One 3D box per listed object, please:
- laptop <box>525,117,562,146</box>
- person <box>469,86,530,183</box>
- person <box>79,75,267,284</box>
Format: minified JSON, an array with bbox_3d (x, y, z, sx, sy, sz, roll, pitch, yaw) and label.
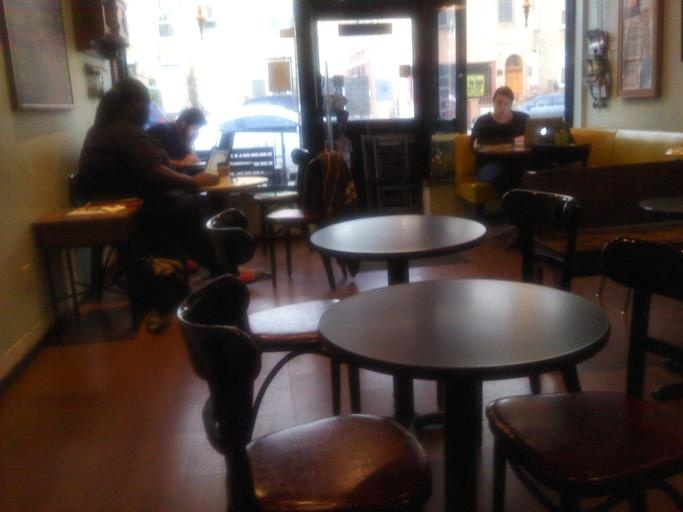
[{"bbox_3d":[1.854,-1.110,5.464,0.314,0.226,0.249,-3,24,15],"label":"laptop"},{"bbox_3d":[1.770,-1.166,6.590,0.577,1.427,0.446,-6,31,0],"label":"person"},{"bbox_3d":[-1.432,-0.613,4.629,1.019,1.493,0.742,-6,22,-23],"label":"person"}]
